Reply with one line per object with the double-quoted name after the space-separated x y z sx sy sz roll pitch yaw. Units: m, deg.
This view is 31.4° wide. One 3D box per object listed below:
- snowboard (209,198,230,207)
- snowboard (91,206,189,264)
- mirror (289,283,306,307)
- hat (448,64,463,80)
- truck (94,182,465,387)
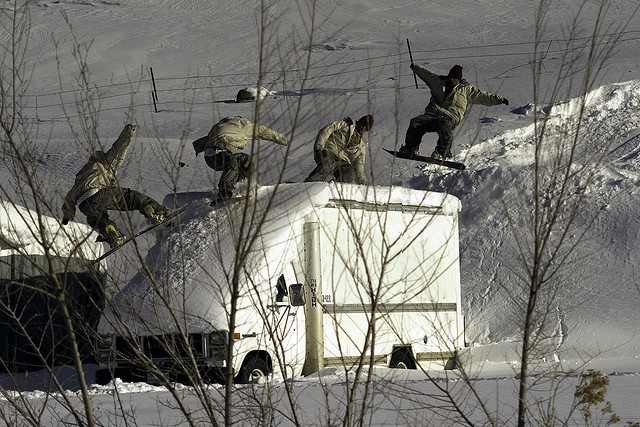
-2.161 -0.274 24.874 0.298 0.099 0.349 -16 -1 38 "snowboard"
-4.025 0.484 25.647 2.180 0.132 0.313 -34 -13 -26 "snowboard"
-0.452 1.675 23.694 0.286 0.457 0.105 2 -3 -13 "mirror"
3.458 -3.626 28.888 0.275 0.340 0.334 11 -10 26 "hat"
1.128 1.551 24.944 7.635 4.413 4.055 2 -4 -39 "truck"
